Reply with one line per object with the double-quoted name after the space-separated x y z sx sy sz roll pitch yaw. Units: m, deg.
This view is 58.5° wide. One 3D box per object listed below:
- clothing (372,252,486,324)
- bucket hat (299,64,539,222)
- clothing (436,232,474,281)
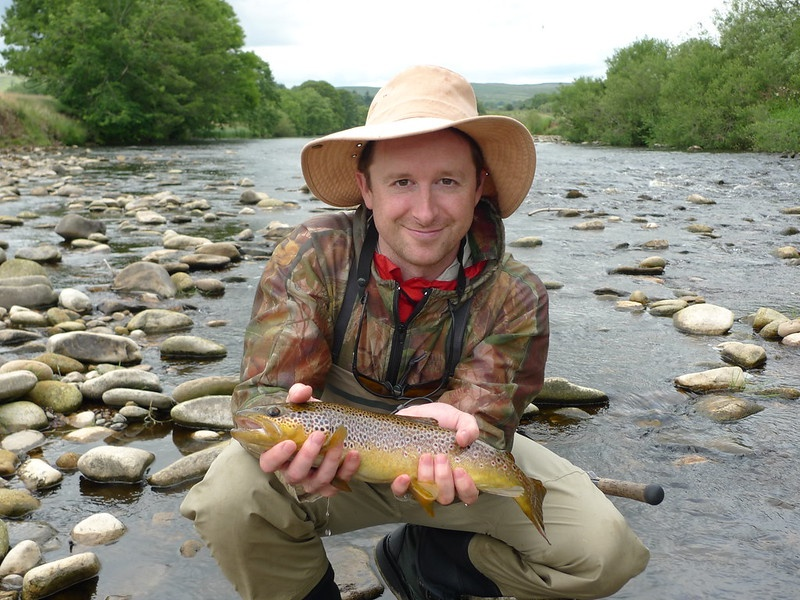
0.146 -0.099 3.785 0.609 0.472 0.226 -12 50 -8 "clothing"
0.089 -0.848 4.280 1.525 0.549 1.216 2 -19 -15 "bucket hat"
0.324 -0.208 3.893 0.177 0.192 0.132 14 14 42 "clothing"
